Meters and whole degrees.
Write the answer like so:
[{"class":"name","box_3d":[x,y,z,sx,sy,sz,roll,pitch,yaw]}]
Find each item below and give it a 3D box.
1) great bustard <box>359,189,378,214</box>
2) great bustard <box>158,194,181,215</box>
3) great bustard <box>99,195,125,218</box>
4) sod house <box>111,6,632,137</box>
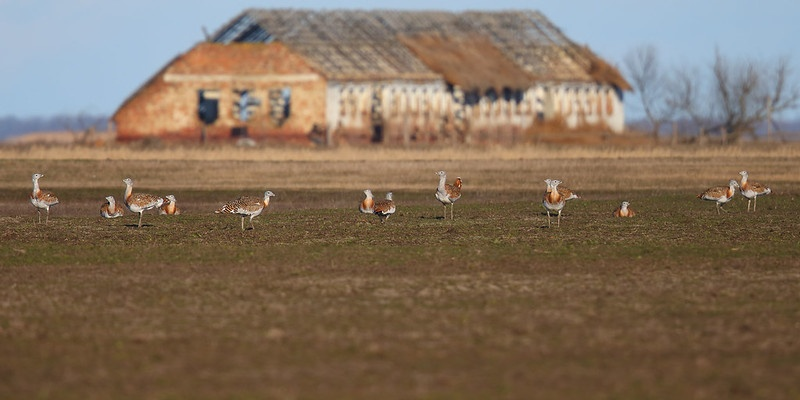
[{"class":"great bustard","box_3d":[-1.453,-0.053,68.370,0.768,1.053,1.110,-3,47,9]},{"class":"great bustard","box_3d":[-10.946,0.273,70.441,0.795,0.740,1.074,1,-3,-20]},{"class":"great bustard","box_3d":[-13.458,0.362,69.009,0.915,0.840,1.291,0,-2,-4]},{"class":"sod house","box_3d":[-2.663,-6.718,81.894,20.930,5.153,12.820,-1,6,-5]}]
